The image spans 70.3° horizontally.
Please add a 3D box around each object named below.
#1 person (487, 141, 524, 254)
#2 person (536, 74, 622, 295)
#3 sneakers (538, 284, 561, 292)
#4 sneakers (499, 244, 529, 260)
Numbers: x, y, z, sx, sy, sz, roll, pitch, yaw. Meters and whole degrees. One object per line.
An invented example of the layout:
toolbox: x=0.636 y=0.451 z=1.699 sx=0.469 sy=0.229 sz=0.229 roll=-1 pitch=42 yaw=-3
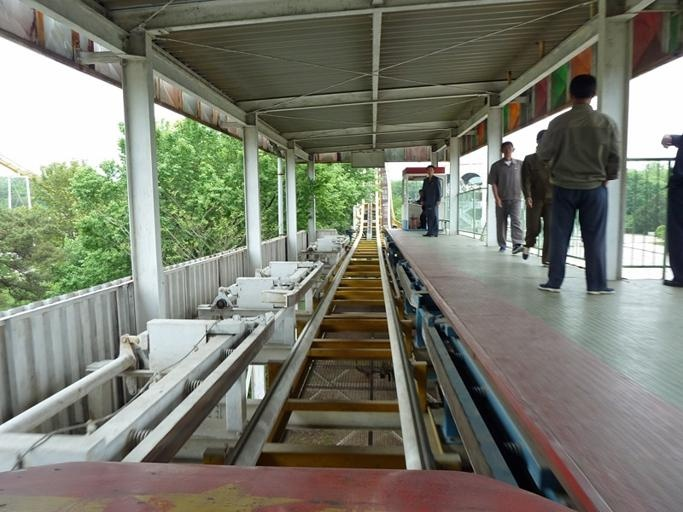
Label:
person: x=2.774 y=-0.987 z=8.232 sx=0.513 sy=1.894 sz=0.599 roll=-5 pitch=12 yaw=21
person: x=2.181 y=-0.656 z=4.650 sx=0.775 sy=1.972 sz=0.629 roll=0 pitch=4 yaw=13
sneakers: x=2.010 y=0.300 z=4.727 sx=0.078 sy=0.076 sz=0.199 roll=-1 pitch=9 yaw=-12
sneakers: x=2.760 y=-0.091 z=7.684 sx=0.186 sy=0.198 sz=0.529 roll=2 pitch=-4 yaw=7
